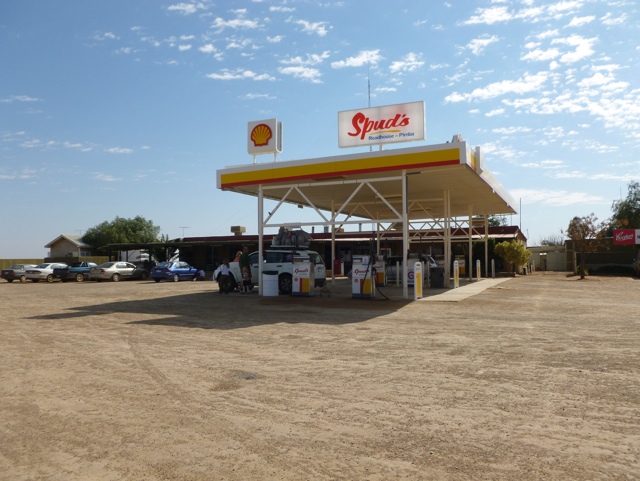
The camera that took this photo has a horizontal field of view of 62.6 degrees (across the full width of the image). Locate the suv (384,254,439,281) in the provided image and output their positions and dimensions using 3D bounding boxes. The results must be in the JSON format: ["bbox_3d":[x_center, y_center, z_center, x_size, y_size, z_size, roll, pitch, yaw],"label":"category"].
[{"bbox_3d":[4.465,1.375,25.246,2.371,1.290,5.117,0,0,4],"label":"suv"}]

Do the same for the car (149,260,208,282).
[{"bbox_3d":[-9.836,2.097,35.115,1.474,0.919,2.786,1,1,28],"label":"car"}]

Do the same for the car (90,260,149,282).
[{"bbox_3d":[-14.355,2.133,36.411,0.933,1.253,3.167,1,0,34],"label":"car"}]

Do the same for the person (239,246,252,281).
[{"bbox_3d":[-3.067,0.938,21.129,0.514,1.383,1.773,0,0,-8],"label":"person"}]

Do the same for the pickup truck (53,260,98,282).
[{"bbox_3d":[-17.297,2.230,36.449,1.627,0.960,2.757,-1,2,16],"label":"pickup truck"}]

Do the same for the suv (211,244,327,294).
[{"bbox_3d":[-2.121,1.141,21.639,4.213,1.541,1.989,1,-3,11],"label":"suv"}]

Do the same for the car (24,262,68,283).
[{"bbox_3d":[-19.765,2.326,37.460,1.375,0.974,3.055,0,3,12],"label":"car"}]

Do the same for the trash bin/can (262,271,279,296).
[{"bbox_3d":[-1.990,1.646,20.352,0.597,0.903,0.642,0,1,-10],"label":"trash bin/can"}]
